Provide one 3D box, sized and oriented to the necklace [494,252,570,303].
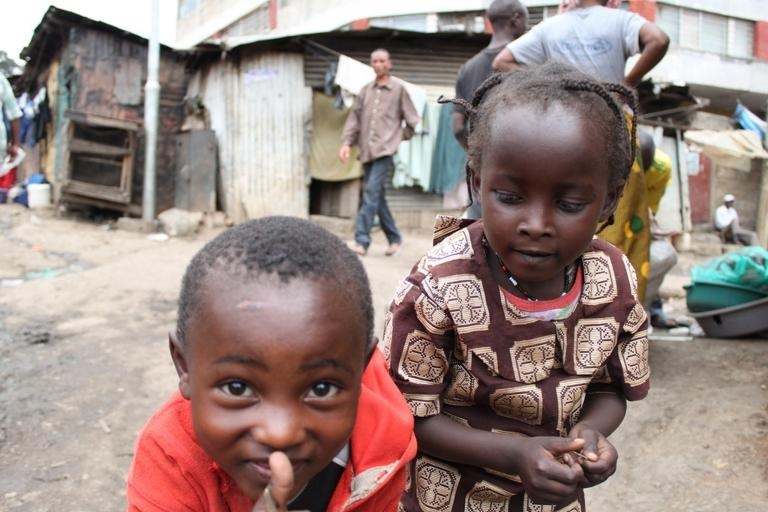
[{"bbox_3d":[0.618,0.095,3.253,0.213,0.276,0.019,-34,3,17],"label":"necklace"}]
